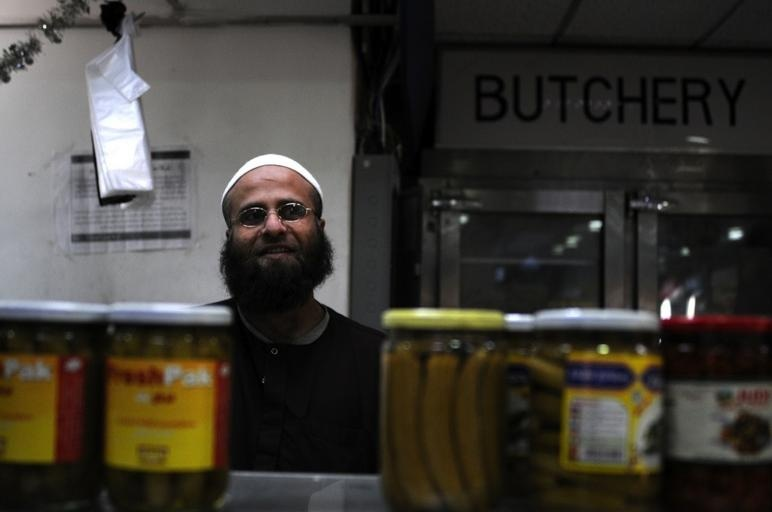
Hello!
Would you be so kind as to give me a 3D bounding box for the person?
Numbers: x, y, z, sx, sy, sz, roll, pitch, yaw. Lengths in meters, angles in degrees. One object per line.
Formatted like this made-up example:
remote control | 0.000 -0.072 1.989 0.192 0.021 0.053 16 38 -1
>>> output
person | -0.357 0.183 1.994 0.752 0.967 0.488 2 -25 -8
